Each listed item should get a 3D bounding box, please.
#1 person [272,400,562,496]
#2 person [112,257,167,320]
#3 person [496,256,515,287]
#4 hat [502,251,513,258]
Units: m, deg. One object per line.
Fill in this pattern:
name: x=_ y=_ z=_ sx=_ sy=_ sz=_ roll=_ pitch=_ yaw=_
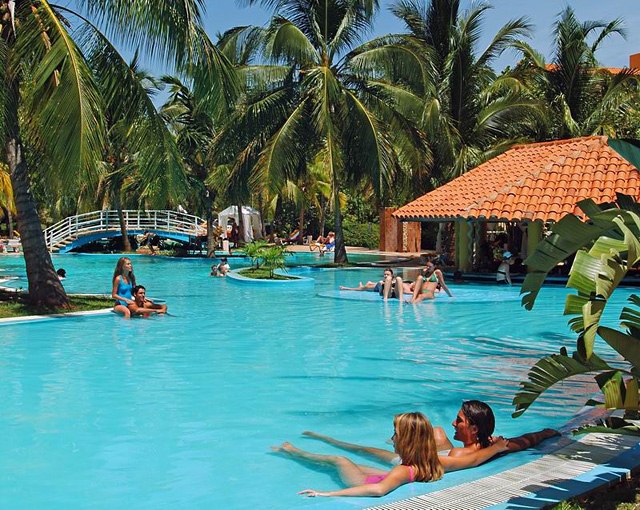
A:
person: x=0.888 y=1.683 z=5.430 sx=2.451 sy=0.752 sz=1.396 roll=0 pitch=4 yaw=-2
person: x=-4.471 y=0.740 z=14.371 sx=1.034 sy=1.417 sz=0.840 roll=-2 pitch=4 yaw=-27
person: x=6.839 y=0.519 z=22.100 sx=0.567 sy=1.014 sz=1.174 roll=1 pitch=4 yaw=17
hat: x=6.845 y=0.003 z=21.737 sx=0.310 sy=0.258 sz=0.310 roll=1 pitch=4 yaw=16
